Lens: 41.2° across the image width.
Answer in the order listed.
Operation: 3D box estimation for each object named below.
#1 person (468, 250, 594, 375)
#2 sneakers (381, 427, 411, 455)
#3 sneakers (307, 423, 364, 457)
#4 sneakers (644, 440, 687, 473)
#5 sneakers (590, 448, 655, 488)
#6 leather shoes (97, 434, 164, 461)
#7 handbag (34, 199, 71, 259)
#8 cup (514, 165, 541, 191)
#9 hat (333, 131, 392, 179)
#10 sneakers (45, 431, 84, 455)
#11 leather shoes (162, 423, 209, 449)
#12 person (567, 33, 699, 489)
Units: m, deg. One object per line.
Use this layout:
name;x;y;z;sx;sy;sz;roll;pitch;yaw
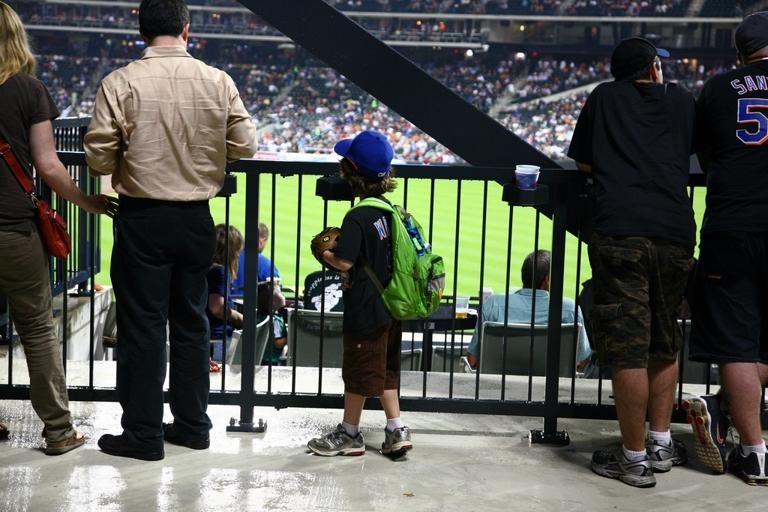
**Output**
person;0.931;0.527;6.681;0.888;1.078;0.618;3;5;2
sneakers;0.051;0.949;5.208;0.087;0.099;0.208;-6;-8;-20
sneakers;-0.263;0.960;5.260;0.313;0.143;0.125;3;-8;-18
sneakers;1.420;1.010;5.222;0.120;0.125;0.282;1;5;34
sneakers;1.181;1.029;5.190;0.165;0.182;0.420;0;6;-30
leather shoes;-1.290;0.966;5.212;0.335;0.121;0.129;8;-2;13
handbag;-1.689;-0.134;5.152;0.147;0.311;0.296;-9;23;-20
cup;0.724;-0.413;5.319;0.133;0.093;0.127;2;17;-1
hat;-0.096;-0.571;5.250;0.234;0.181;0.328;-12;44;-31
sneakers;-1.621;0.941;5.195;0.090;0.081;0.206;5;8;26
leather shoes;-1.037;0.941;5.324;0.280;0.102;0.106;17;11;26
person;1.258;0.023;5.166;0.633;2.257;0.395;-2;-7;9
